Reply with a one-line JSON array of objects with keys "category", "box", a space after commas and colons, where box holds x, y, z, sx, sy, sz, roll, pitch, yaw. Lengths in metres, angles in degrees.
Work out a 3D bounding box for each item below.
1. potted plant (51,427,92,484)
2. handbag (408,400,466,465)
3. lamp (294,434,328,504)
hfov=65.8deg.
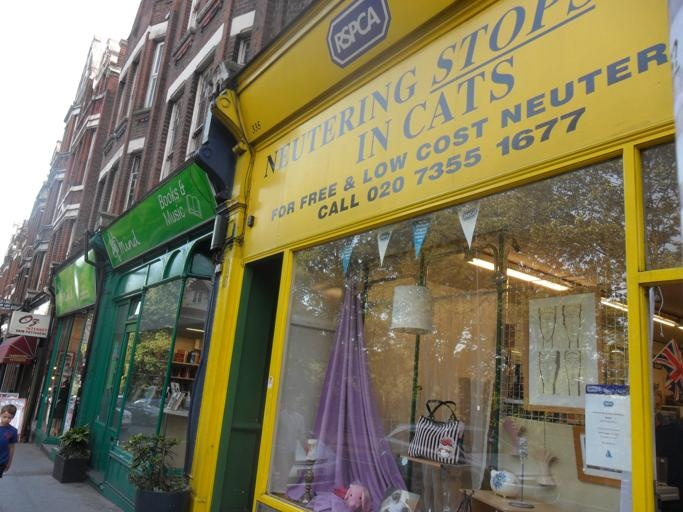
[{"category": "potted plant", "box": [-4.758, 3.523, 9.378, 0.561, 0.924, 0.548, 12, -20, -25]}, {"category": "handbag", "box": [0.847, 1.568, 4.627, 0.470, 0.496, 0.155, -8, -36, 34]}, {"category": "lamp", "box": [-0.327, 2.089, 5.173, 0.134, 0.646, 0.391, 19, -24, -41]}]
